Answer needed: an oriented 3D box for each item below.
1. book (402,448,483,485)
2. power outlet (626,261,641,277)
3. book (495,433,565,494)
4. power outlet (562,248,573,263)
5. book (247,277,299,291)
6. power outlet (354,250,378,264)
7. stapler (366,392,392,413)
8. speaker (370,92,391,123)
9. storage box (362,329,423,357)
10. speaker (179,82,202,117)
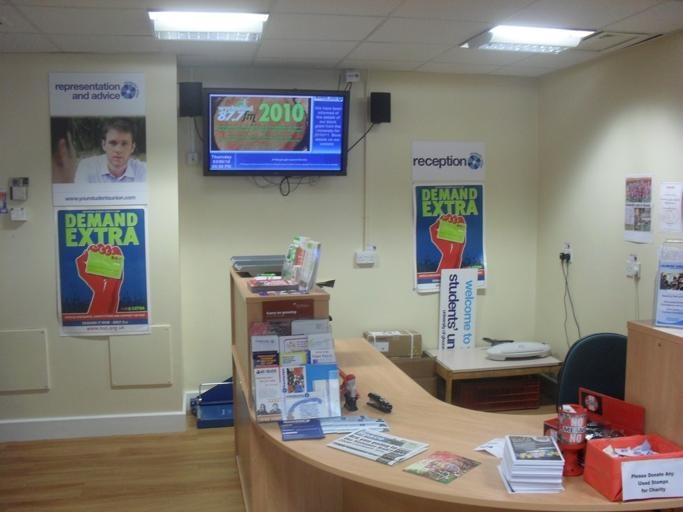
[{"bbox_3d":[0.524,1.095,2.886,0.360,0.011,0.222,-10,17,-37],"label":"book"},{"bbox_3d":[2.503,0.109,4.756,0.044,0.126,0.113,-4,12,-20],"label":"power outlet"},{"bbox_3d":[0.956,1.024,2.772,0.245,0.161,0.248,0,8,4],"label":"book"},{"bbox_3d":[2.213,0.003,5.488,0.051,0.147,0.123,-7,15,-27],"label":"power outlet"},{"bbox_3d":[-0.441,0.172,3.556,0.291,0.049,0.300,-4,14,-16],"label":"book"},{"bbox_3d":[0.249,0.009,5.574,0.228,0.157,0.125,0,1,-10],"label":"power outlet"},{"bbox_3d":[0.237,0.912,3.531,0.066,0.086,0.214,-5,20,-43],"label":"stapler"},{"bbox_3d":[0.378,-1.444,5.393,0.200,0.277,0.087,-2,13,-8],"label":"speaker"},{"bbox_3d":[0.514,0.867,5.568,0.566,0.234,0.263,-1,13,-5],"label":"storage box"},{"bbox_3d":[-1.364,-1.422,5.095,0.225,0.302,0.163,0,-2,-10],"label":"speaker"}]
